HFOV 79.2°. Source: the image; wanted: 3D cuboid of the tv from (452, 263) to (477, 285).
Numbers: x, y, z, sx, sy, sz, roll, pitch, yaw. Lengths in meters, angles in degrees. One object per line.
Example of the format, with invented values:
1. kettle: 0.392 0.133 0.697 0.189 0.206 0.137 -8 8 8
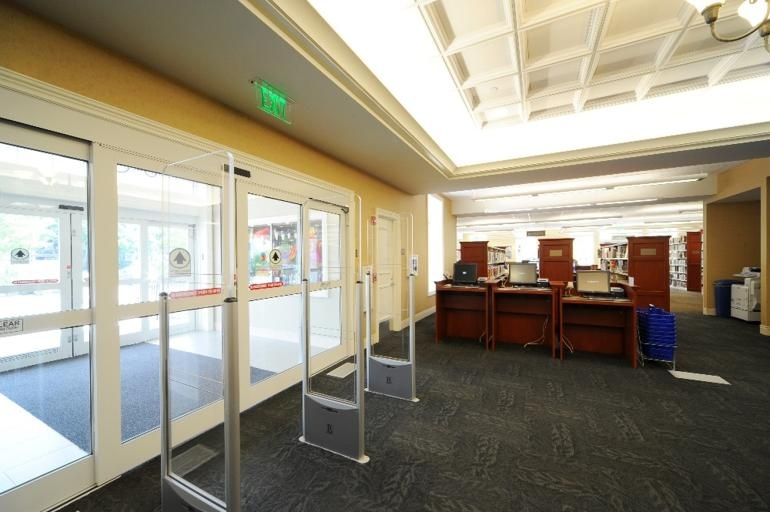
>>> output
1. tv: 1.404 0.324 8.188 0.375 0.293 0.049 1 -4 35

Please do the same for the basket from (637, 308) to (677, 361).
1. basket: 3.942 1.165 6.795 0.466 0.729 0.775 -1 0 13

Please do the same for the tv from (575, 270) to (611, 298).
1. tv: 3.288 0.413 7.332 0.583 0.461 0.336 0 -5 24

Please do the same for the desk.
1. desk: 2.411 0.953 7.596 3.052 1.137 0.678 3 8 26

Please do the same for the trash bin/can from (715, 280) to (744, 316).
1. trash bin/can: 7.064 0.876 9.651 0.428 0.759 0.310 5 9 37

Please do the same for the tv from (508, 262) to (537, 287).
1. tv: 2.340 0.307 8.025 0.588 0.504 0.338 -1 -3 27
